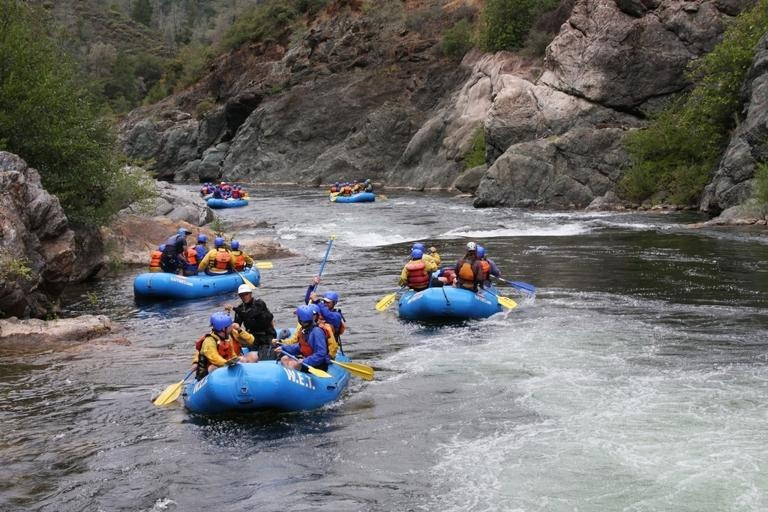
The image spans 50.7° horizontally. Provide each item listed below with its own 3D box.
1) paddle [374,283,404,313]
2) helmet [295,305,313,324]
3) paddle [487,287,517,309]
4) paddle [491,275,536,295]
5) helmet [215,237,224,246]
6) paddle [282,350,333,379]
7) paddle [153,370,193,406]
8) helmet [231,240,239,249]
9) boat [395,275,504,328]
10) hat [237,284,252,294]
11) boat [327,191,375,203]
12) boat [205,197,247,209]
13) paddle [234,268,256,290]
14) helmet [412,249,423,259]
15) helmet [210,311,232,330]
[{"bbox_3d":[0.176,1.289,23.408,1.331,0.357,0.068,-39,-15,-7],"label":"paddle"},{"bbox_3d":[-1.814,1.318,18.164,0.320,0.191,0.402,-8,34,-27],"label":"helmet"},{"bbox_3d":[3.453,1.256,22.977,0.946,0.263,0.216,34,-28,-12],"label":"paddle"},{"bbox_3d":[4.082,0.934,25.057,1.375,0.307,0.113,17,-24,21],"label":"paddle"},{"bbox_3d":[-5.428,-0.452,26.540,0.322,0.207,0.307,4,-7,-22],"label":"helmet"},{"bbox_3d":[-1.692,2.430,17.755,1.150,0.125,0.188,26,50,34],"label":"paddle"},{"bbox_3d":[-4.666,2.982,17.785,0.384,0.145,1.309,5,16,16],"label":"paddle"},{"bbox_3d":[-5.010,-0.338,26.817,0.244,0.257,0.309,-1,-17,-13],"label":"helmet"},{"bbox_3d":[1.770,1.442,23.561,2.623,0.947,3.577,0,2,-5],"label":"boat"},{"bbox_3d":[-3.280,0.749,18.777,0.336,0.202,0.442,-11,-10,-2],"label":"hat"},{"bbox_3d":[-2.007,-3.764,52.219,2.922,0.684,1.685,1,7,10],"label":"boat"},{"bbox_3d":[-10.168,-3.317,51.799,2.113,0.518,1.522,0,-1,-3],"label":"boat"},{"bbox_3d":[-4.441,0.773,25.316,0.159,0.636,0.704,10,8,-35],"label":"paddle"},{"bbox_3d":[0.960,-0.016,23.113,0.326,0.269,0.304,-2,-4,7],"label":"helmet"},{"bbox_3d":[-3.671,1.448,17.874,0.465,0.313,0.332,5,9,18],"label":"helmet"}]
